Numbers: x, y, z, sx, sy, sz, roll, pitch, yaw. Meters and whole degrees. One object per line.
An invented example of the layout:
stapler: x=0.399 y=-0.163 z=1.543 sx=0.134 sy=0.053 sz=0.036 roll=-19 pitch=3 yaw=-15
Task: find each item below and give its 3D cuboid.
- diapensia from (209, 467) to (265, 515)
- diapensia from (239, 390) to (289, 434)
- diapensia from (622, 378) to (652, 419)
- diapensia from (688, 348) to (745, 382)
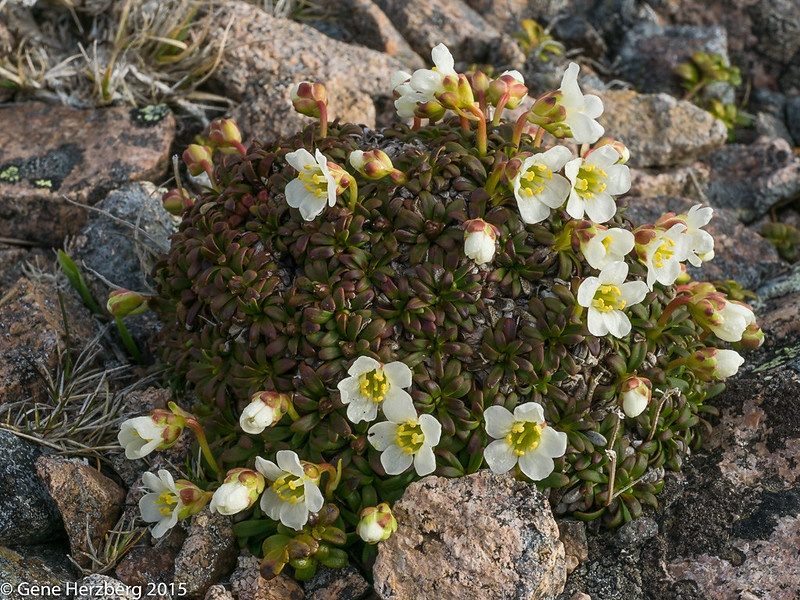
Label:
diapensia: x=-0.959 y=1.121 z=4.906 sx=0.307 sy=0.149 sz=0.219 roll=-34 pitch=65 yaw=-27
diapensia: x=-0.812 y=0.659 z=4.985 sx=0.202 sy=0.136 sz=0.294 roll=47 pitch=60 yaw=1
diapensia: x=1.454 y=0.583 z=5.055 sx=0.174 sy=0.105 sz=0.246 roll=11 pitch=87 yaw=1
diapensia: x=2.043 y=0.399 z=5.347 sx=0.287 sy=0.129 sz=0.222 roll=11 pitch=103 yaw=-11
